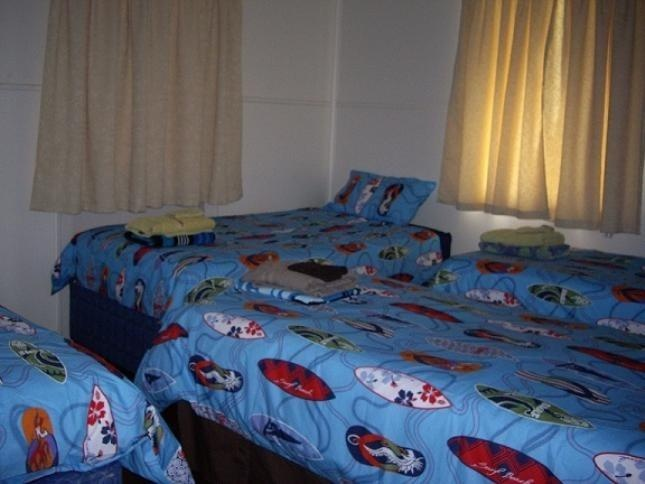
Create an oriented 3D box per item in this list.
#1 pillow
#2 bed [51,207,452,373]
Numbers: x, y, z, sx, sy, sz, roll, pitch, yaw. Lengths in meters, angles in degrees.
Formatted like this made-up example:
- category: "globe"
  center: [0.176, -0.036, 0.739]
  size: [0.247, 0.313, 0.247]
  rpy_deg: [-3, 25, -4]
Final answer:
- category: "pillow"
  center: [0.490, -0.385, 4.268]
  size: [0.415, 0.301, 0.893]
  rpy_deg: [-30, 30, -34]
- category: "bed"
  center: [-0.324, 0.109, 3.354]
  size: [1.984, 0.530, 1.249]
  rpy_deg: [-9, 16, -36]
